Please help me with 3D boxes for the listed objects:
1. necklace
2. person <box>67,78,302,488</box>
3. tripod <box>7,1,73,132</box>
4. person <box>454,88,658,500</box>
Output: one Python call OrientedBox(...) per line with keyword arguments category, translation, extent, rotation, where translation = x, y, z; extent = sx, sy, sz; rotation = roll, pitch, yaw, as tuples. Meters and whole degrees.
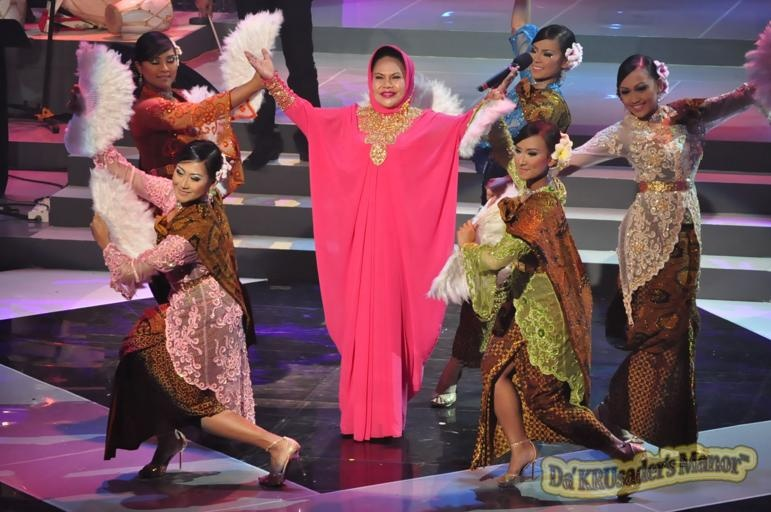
OrientedBox(category="necklace", translation=(0.024, -0.703, 5.487), extent=(0.486, 0.313, 0.185), rotation=(8, 12, 14))
OrientedBox(category="person", translation=(-1.047, 0.304, 5.039), extent=(1.071, 1.855, 0.478), rotation=(2, 11, -9))
OrientedBox(category="tripod", translation=(-3.326, -1.818, 9.047), extent=(0.471, 1.223, 0.806), rotation=(-1, 11, -28))
OrientedBox(category="person", translation=(0.889, 0.253, 5.067), extent=(1.034, 1.968, 0.429), rotation=(6, 11, 12))
